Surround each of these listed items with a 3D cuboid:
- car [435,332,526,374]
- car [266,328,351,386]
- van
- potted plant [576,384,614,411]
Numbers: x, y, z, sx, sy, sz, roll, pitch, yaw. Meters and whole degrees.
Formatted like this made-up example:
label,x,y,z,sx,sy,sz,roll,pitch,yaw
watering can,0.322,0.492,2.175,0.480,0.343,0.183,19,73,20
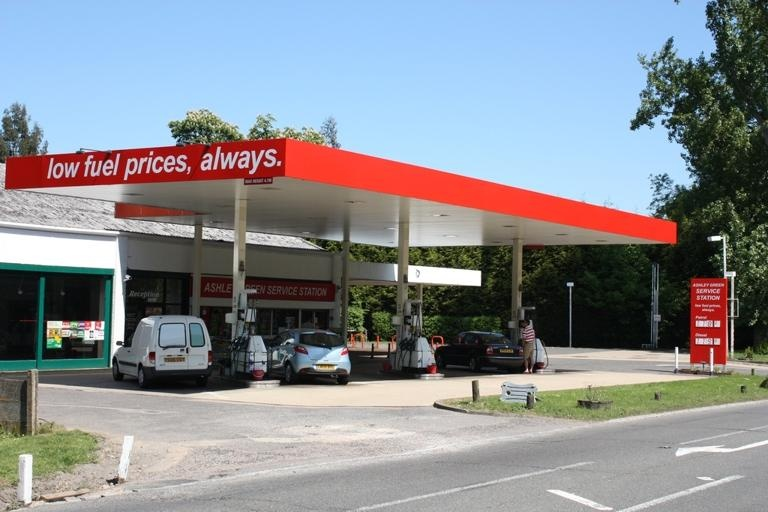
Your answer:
label,x,y,z,sx,sy,sz,roll,pitch,yaw
car,3.773,3.845,34.005,1.183,1.576,3.528,6,-12,-35
car,-2.658,3.218,27.539,1.567,1.141,2.590,2,-2,-21
van,-6.957,2.951,25.926,3.014,2.153,1.469,-5,-10,29
potted plant,5.601,3.822,22.473,0.528,0.474,0.686,-1,2,-45
